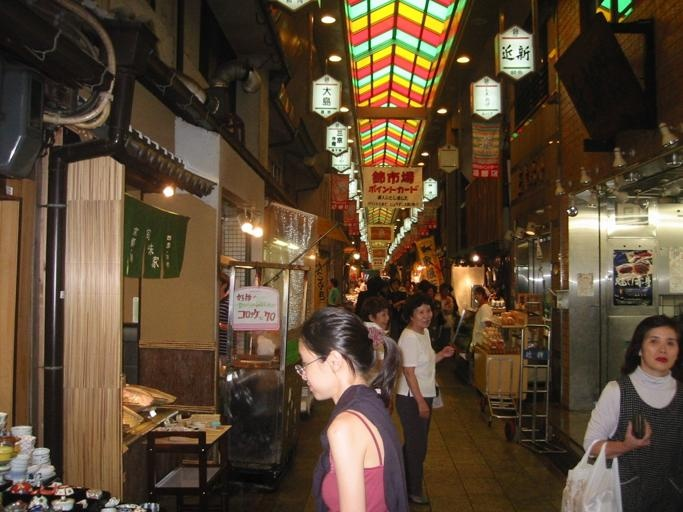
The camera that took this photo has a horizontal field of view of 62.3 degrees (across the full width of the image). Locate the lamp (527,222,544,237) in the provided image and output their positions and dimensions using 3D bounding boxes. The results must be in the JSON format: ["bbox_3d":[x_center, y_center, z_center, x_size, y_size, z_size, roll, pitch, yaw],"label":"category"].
[{"bbox_3d":[3.467,-0.460,10.128,0.307,0.268,0.184,2,5,6],"label":"lamp"}]

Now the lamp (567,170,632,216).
[{"bbox_3d":[3.401,-0.810,7.548,0.709,0.598,1.293,2,4,21],"label":"lamp"}]

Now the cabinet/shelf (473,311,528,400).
[{"bbox_3d":[2.454,1.553,8.708,0.422,1.083,1.295,0,-5,5],"label":"cabinet/shelf"}]

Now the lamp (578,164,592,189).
[{"bbox_3d":[3.179,-1.012,7.395,0.203,0.413,0.307,-3,1,24],"label":"lamp"}]

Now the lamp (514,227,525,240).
[{"bbox_3d":[3.367,-0.431,10.685,0.196,0.210,0.594,2,4,18],"label":"lamp"}]

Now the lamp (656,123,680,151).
[{"bbox_3d":[3.239,-1.191,5.585,0.165,0.229,0.366,3,4,31],"label":"lamp"}]

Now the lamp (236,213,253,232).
[{"bbox_3d":[-1.380,-0.480,8.159,0.162,0.333,0.305,0,-2,-5],"label":"lamp"}]

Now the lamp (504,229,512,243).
[{"bbox_3d":[3.209,-0.385,10.843,0.053,0.248,0.238,10,5,15],"label":"lamp"}]

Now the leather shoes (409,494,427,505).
[{"bbox_3d":[0.772,2.434,5.682,0.191,0.096,0.075,-3,-6,18],"label":"leather shoes"}]

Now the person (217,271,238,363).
[{"bbox_3d":[-1.636,0.864,7.985,0.206,0.086,2.163,14,-44,0],"label":"person"}]
